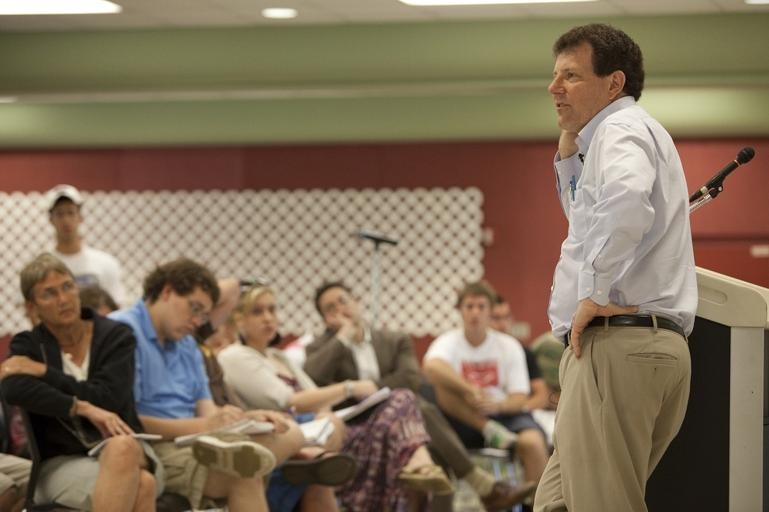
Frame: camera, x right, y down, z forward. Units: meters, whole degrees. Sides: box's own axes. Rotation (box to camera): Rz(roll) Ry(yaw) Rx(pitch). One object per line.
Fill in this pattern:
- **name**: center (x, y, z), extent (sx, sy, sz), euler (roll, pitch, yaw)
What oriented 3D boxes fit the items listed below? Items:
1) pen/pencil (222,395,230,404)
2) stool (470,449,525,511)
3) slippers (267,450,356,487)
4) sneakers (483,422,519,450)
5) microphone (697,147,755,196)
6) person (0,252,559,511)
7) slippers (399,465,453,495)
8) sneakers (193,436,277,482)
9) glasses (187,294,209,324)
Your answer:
- **pen/pencil**: center (-0.801, 0.734, 4.531), extent (0.027, 0.040, 0.009), euler (-1, 3, 23)
- **stool**: center (0.576, 1.191, 4.782), extent (0.245, 0.123, 0.324), euler (21, 25, -34)
- **slippers**: center (-0.346, 1.049, 4.480), extent (0.456, 0.168, 0.198), euler (1, -3, -3)
- **sneakers**: center (0.608, 0.963, 4.806), extent (0.237, 0.113, 0.089), euler (15, 7, 44)
- **microphone**: center (1.551, -0.379, 4.032), extent (0.256, 0.228, 0.191), euler (6, -9, -34)
- **person**: center (-0.734, 0.659, 4.527), extent (2.176, 1.268, 0.512), euler (2, -7, -6)
- **slippers**: center (0.219, 1.154, 4.552), extent (0.234, 0.088, 0.142), euler (5, 40, -4)
- **sneakers**: center (-0.693, 0.956, 4.254), extent (0.388, 0.174, 0.166), euler (17, 3, 4)
- **glasses**: center (-0.900, 0.262, 4.400), extent (0.120, 0.076, 0.099), euler (19, -6, 42)
